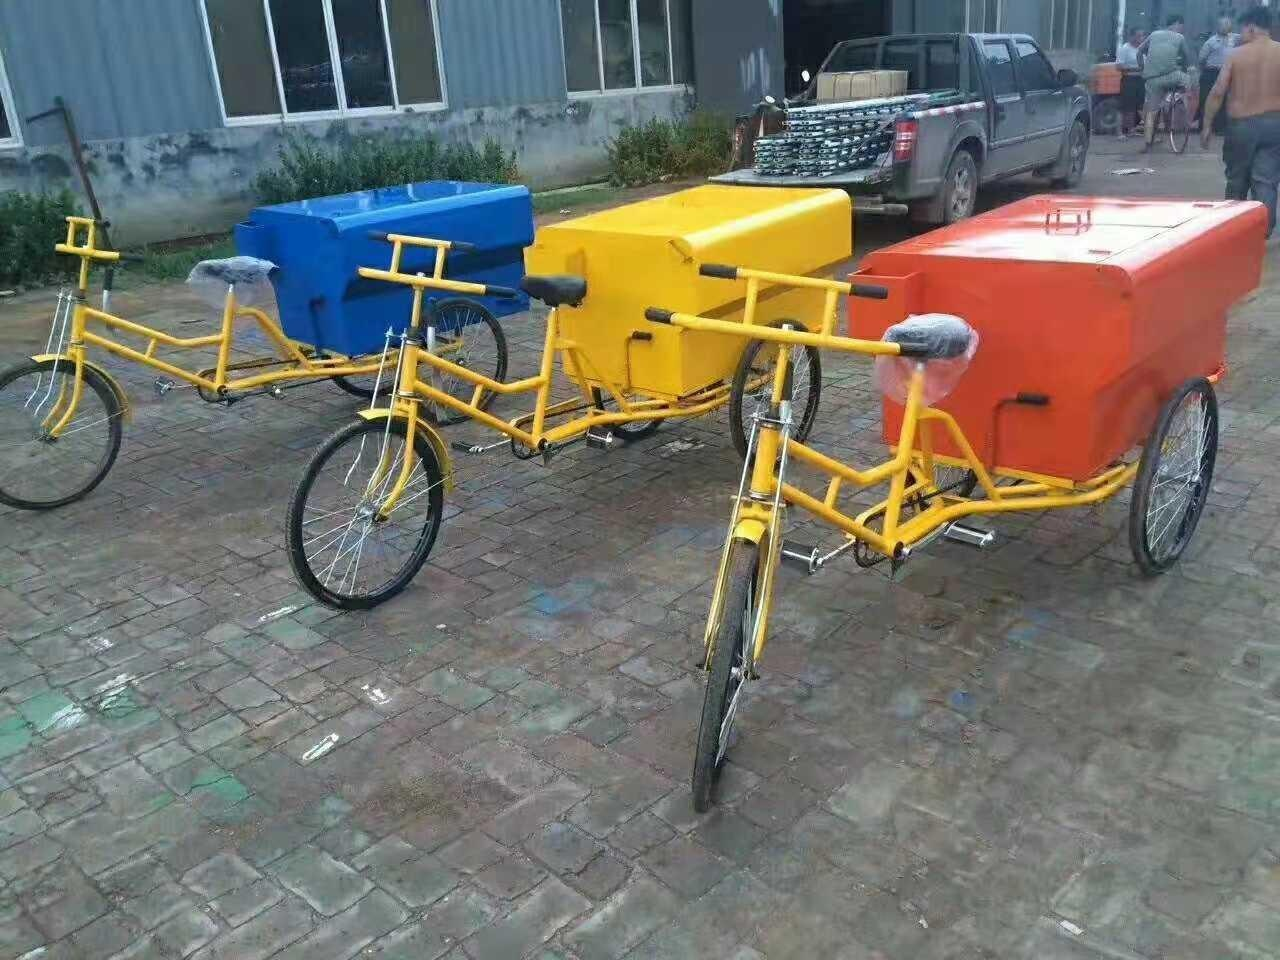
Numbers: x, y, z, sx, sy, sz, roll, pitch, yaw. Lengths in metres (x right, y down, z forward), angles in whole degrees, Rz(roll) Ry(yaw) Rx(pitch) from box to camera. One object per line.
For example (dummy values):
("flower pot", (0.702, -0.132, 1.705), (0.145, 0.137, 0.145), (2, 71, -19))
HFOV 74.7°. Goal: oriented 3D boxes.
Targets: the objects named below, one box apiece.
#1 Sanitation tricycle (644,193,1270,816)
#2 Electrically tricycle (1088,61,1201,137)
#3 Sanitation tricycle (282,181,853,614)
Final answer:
("Sanitation tricycle", (1.342, -0.386, 4.055), (3.776, 1.790, 1.704), (-22, 30, -34))
("Electrically tricycle", (10.120, -7.946, 17.391), (2.349, 1.386, 1.172), (11, 32, 34))
("Sanitation tricycle", (-0.409, -0.592, 4.750), (2.104, 1.511, 3.379), (20, 32, 38))
